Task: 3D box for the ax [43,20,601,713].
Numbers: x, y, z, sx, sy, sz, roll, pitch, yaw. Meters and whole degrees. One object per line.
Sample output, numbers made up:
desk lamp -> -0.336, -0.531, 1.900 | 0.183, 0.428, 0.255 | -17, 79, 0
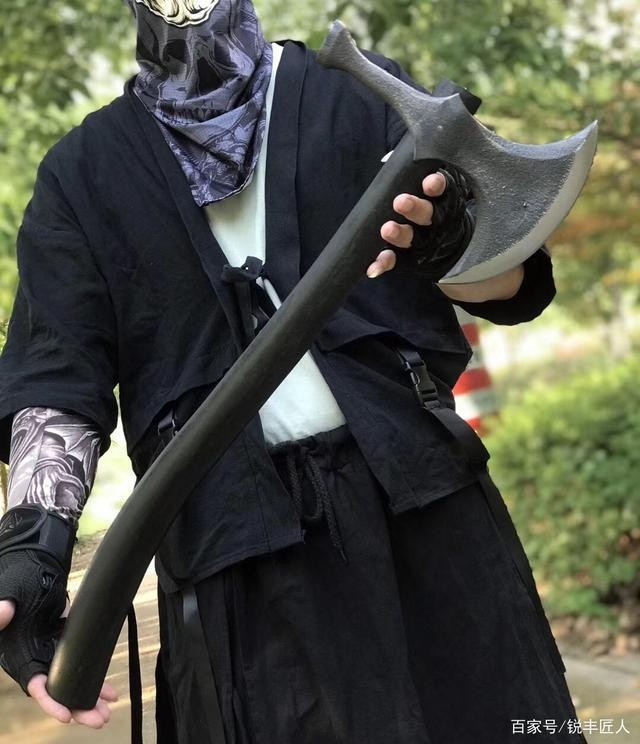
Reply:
ax -> 0.014, -0.008, 1.182 | 0.483, 1.100, 0.084 | 40, -4, 10
